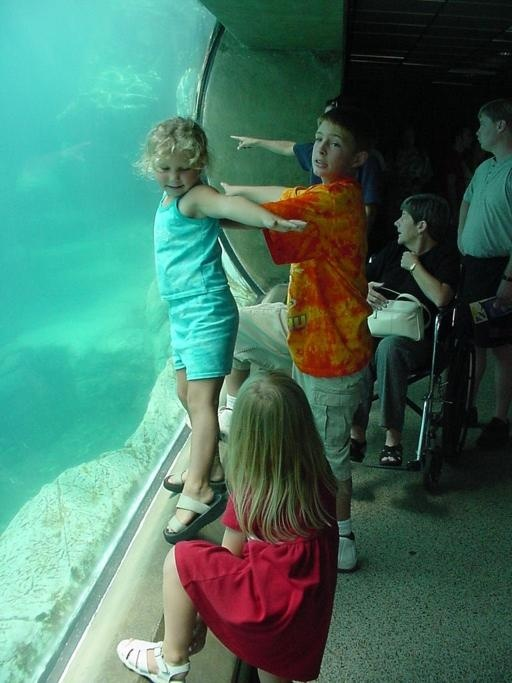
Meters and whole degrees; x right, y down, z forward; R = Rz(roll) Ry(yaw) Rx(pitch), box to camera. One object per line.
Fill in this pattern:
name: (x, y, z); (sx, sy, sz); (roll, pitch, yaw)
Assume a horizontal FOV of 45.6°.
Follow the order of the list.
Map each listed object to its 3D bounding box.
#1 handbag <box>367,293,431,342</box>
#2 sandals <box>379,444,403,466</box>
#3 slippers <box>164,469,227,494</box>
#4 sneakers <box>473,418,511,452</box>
handbag: (0.615, -0.087, 2.630); (0.252, 0.252, 0.229); (0, 25, 12)
sandals: (0.587, 0.494, 2.635); (0.083, 0.070, 0.211); (-3, -9, 11)
slippers: (-0.229, 0.563, 2.413); (0.279, 0.064, 0.092); (2, 8, -4)
sneakers: (1.141, 0.449, 2.910); (0.253, 0.094, 0.090); (-6, 6, -44)
